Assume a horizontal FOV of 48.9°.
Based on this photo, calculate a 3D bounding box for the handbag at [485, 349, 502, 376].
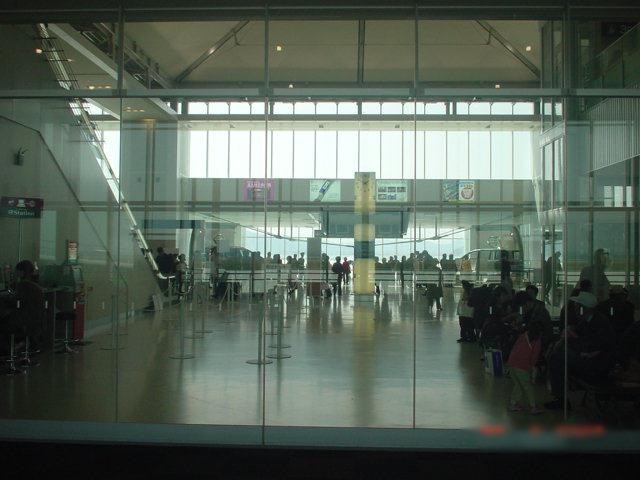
[{"bbox_3d":[2.427,1.725,9.885,0.265,0.373,0.063,1,-2,-11],"label":"handbag"}]

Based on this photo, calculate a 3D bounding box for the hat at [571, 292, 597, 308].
[{"bbox_3d":[3.729,0.833,9.912,0.272,0.091,0.197,15,9,8],"label":"hat"}]
